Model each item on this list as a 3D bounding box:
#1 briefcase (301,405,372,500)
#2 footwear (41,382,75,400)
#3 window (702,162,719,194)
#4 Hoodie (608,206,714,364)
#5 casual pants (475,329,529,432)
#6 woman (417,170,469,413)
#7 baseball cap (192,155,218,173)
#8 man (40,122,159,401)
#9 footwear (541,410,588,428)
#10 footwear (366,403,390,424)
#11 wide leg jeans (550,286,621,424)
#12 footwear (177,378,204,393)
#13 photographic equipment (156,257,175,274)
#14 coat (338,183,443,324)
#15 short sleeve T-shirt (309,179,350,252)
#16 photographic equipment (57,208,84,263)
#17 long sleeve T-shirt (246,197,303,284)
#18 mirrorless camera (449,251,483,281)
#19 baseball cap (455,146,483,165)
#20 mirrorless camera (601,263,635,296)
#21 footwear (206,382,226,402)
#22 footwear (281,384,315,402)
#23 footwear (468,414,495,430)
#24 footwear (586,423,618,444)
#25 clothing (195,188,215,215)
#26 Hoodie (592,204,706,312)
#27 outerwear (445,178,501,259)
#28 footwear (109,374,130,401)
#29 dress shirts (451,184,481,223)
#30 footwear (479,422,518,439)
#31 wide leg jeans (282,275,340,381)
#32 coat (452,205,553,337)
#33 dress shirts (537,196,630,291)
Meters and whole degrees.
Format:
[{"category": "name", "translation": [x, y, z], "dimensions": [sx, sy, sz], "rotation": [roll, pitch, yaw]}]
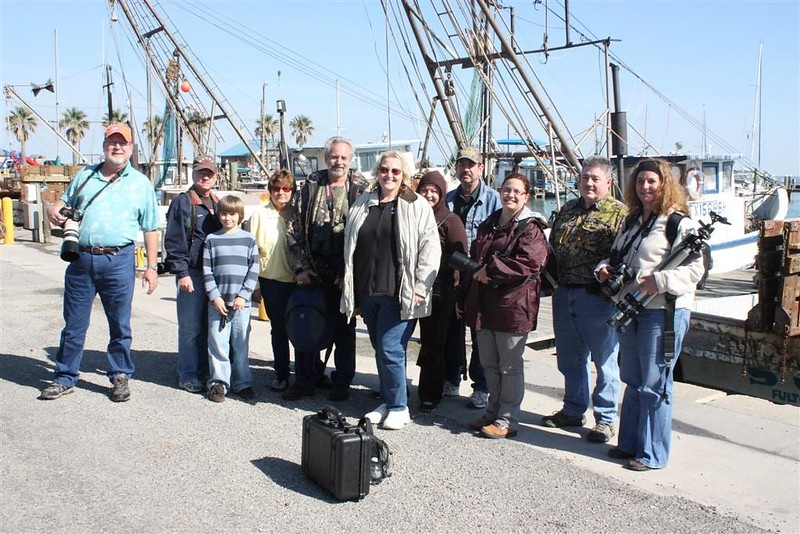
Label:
[{"category": "briefcase", "translation": [-0.531, 1.549, 5.887], "dimensions": [0.327, 0.571, 0.613], "rotation": [-1, 8, -25]}, {"category": "footwear", "translation": [-3.414, 1.251, 7.212], "dimensions": [0.119, 0.155, 0.329], "rotation": [1, -12, 11]}, {"category": "window", "translation": [8.299, -2.383, 19.474], "dimensions": [0.912, 1.091, 0.073], "rotation": [-4, 5, -38]}, {"category": "Hoodie", "translation": [2.229, 0.165, 6.180], "dimensions": [0.922, 1.277, 0.283], "rotation": [3, 7, 9]}, {"category": "casual pants", "translation": [0.941, 0.965, 6.835], "dimensions": [0.324, 1.197, 0.443], "rotation": [20, -22, -39]}, {"category": "woman", "translation": [0.313, 0.227, 7.381], "dimensions": [0.658, 2.269, 0.792], "rotation": [-2, 5, -20]}, {"category": "baseball cap", "translation": [-1.994, -1.053, 7.406], "dimensions": [0.304, 0.148, 0.442], "rotation": [3, 15, -19]}, {"category": "man", "translation": [-2.982, 0.133, 7.281], "dimensions": [0.989, 2.352, 0.540], "rotation": [1, 7, -9]}, {"category": "footwear", "translation": [1.579, 1.489, 6.983], "dimensions": [0.417, 0.188, 0.158], "rotation": [2, -3, 4]}, {"category": "footwear", "translation": [-0.213, 1.428, 6.958], "dimensions": [0.115, 0.139, 0.331], "rotation": [0, -9, 26]}, {"category": "wide leg jeans", "translation": [1.752, 0.726, 6.921], "dimensions": [0.627, 1.789, 0.502], "rotation": [5, 18, 18]}, {"category": "footwear", "translation": [-2.183, 1.247, 7.538], "dimensions": [0.271, 0.130, 0.122], "rotation": [0, -3, 30]}, {"category": "photographic equipment", "translation": [-2.408, 0.011, 7.437], "dimensions": [0.133, 0.171, 0.242], "rotation": [-6, 5, -34]}, {"category": "coat", "translation": [-0.091, -0.097, 6.869], "dimensions": [1.192, 1.463, 0.811], "rotation": [4, 4, 20]}, {"category": "short sleeve T-shirt", "translation": [-0.698, -0.510, 7.251], "dimensions": [0.407, 0.788, 0.125], "rotation": [-4, 40, -18]}, {"category": "photographic equipment", "translation": [-3.171, -0.304, 6.999], "dimensions": [0.274, 0.466, 0.204], "rotation": [2, -30, -18]}, {"category": "long sleeve T-shirt", "translation": [-1.363, -0.277, 7.664], "dimensions": [0.377, 0.716, 0.610], "rotation": [2, 12, 6]}, {"category": "mirrorless camera", "translation": [0.599, -0.005, 6.772], "dimensions": [0.342, 0.162, 0.130], "rotation": [31, 9, 22]}, {"category": "baseball cap", "translation": [0.734, -1.162, 7.612], "dimensions": [0.287, 0.163, 0.220], "rotation": [-1, 8, -32]}, {"category": "mirrorless camera", "translation": [1.870, 0.103, 6.192], "dimensions": [0.157, 0.267, 0.241], "rotation": [42, -15, -18]}, {"category": "footwear", "translation": [-1.865, 1.263, 7.325], "dimensions": [0.190, 0.184, 0.199], "rotation": [1, 7, -13]}, {"category": "footwear", "translation": [-1.043, 1.304, 7.405], "dimensions": [0.329, 0.144, 0.130], "rotation": [6, -2, -40]}, {"category": "footwear", "translation": [0.761, 1.489, 6.861], "dimensions": [0.218, 0.095, 0.113], "rotation": [3, -2, -14]}, {"category": "footwear", "translation": [1.865, 1.558, 6.732], "dimensions": [0.304, 0.133, 0.117], "rotation": [14, -19, -39]}, {"category": "clothing", "translation": [-2.053, -0.664, 7.550], "dimensions": [0.145, 0.279, 0.208], "rotation": [-20, -1, 34]}, {"category": "Hoodie", "translation": [2.132, -0.022, 6.430], "dimensions": [0.561, 1.007, 0.985], "rotation": [0, 8, -33]}, {"category": "outerwear", "translation": [0.735, -0.455, 7.341], "dimensions": [0.784, 0.906, 0.490], "rotation": [5, 6, 39]}, {"category": "footwear", "translation": [-2.804, 1.229, 7.231], "dimensions": [0.133, 0.150, 0.332], "rotation": [3, -1, -28]}, {"category": "dress shirts", "translation": [0.705, -0.655, 7.718], "dimensions": [0.448, 0.459, 0.254], "rotation": [0, 1, 42]}, {"category": "footwear", "translation": [0.901, 1.538, 6.776], "dimensions": [0.275, 0.113, 0.148], "rotation": [7, -6, -6]}, {"category": "wide leg jeans", "translation": [-0.906, 0.704, 7.359], "dimensions": [0.521, 1.021, 0.416], "rotation": [-2, 8, -31]}, {"category": "coat", "translation": [0.986, 0.093, 7.274], "dimensions": [0.985, 1.483, 1.233], "rotation": [2, 1, -29]}, {"category": "dress shirts", "translation": [1.708, -0.179, 6.689], "dimensions": [0.590, 0.769, 0.411], "rotation": [23, 1, 40]}]
